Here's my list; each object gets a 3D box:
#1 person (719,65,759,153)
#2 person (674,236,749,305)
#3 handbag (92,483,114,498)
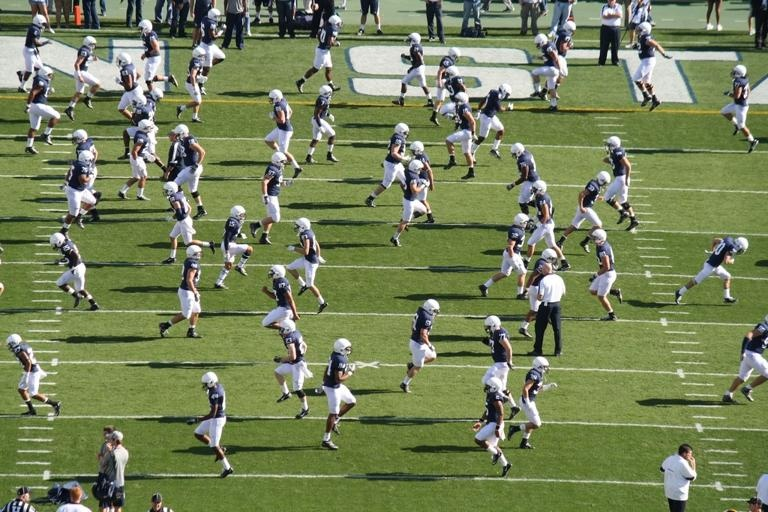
[{"bbox_3d":[8.958,-3.796,41.136,1.245,2.485,0.788,5,-8,2],"label":"person"},{"bbox_3d":[7.106,0.247,35.802,1.526,1.414,0.814,6,3,3],"label":"person"},{"bbox_3d":[-5.209,4.277,30.465,0.392,0.270,0.136,4,14,17],"label":"handbag"}]
